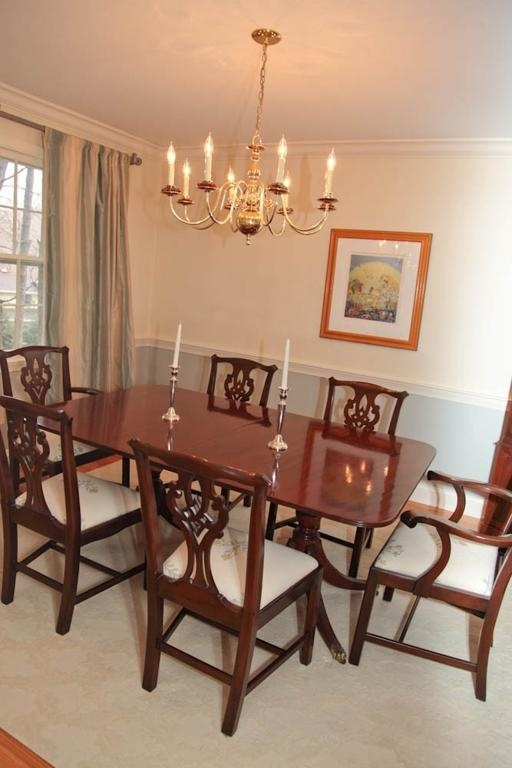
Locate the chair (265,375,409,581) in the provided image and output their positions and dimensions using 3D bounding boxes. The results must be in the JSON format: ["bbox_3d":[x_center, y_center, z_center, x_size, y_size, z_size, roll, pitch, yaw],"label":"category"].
[{"bbox_3d":[0.365,0.439,2.660,0.581,0.878,0.578,8,21,14],"label":"chair"}]

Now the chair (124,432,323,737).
[{"bbox_3d":[-0.078,0.522,1.662,0.434,0.808,0.445,15,19,34],"label":"chair"}]

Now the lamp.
[{"bbox_3d":[0.001,-1.019,2.325,0.654,0.844,0.648,7,9,13],"label":"lamp"}]

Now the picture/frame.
[{"bbox_3d":[0.771,-0.613,3.534,0.688,0.759,0.055,14,14,29],"label":"picture/frame"}]
